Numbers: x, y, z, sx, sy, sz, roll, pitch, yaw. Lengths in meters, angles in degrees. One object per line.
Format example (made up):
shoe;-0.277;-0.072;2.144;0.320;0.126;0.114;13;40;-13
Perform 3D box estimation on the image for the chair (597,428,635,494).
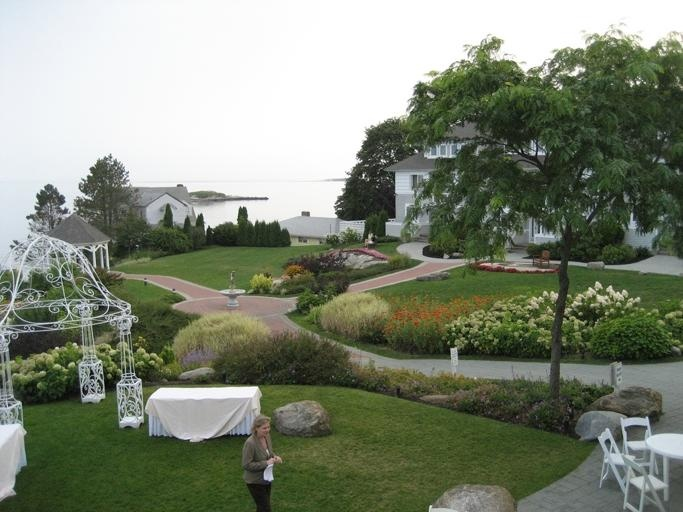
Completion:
chair;5.277;3.928;11.281;0.589;0.934;0.601;-3;5;16
